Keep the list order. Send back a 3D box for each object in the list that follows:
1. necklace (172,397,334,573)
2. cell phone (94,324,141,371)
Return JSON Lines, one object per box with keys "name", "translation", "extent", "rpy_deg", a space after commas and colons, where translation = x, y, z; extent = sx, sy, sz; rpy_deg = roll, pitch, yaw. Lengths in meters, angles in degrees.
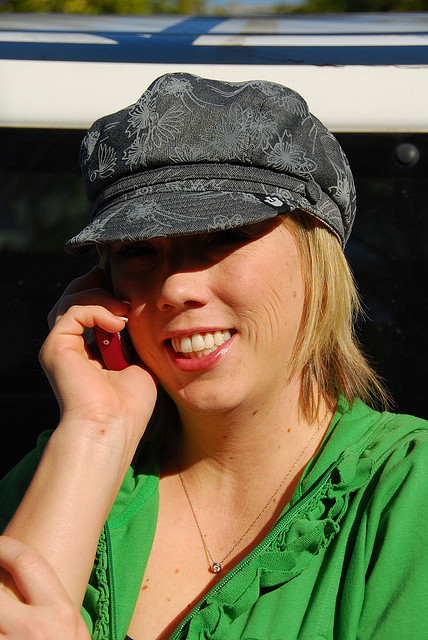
{"name": "necklace", "translation": [0.140, 0.500, 2.049], "extent": [0.587, 0.388, 0.038], "rpy_deg": [1, -19, 36]}
{"name": "cell phone", "translation": [-0.291, 0.082, 2.128], "extent": [0.042, 0.123, 0.139], "rpy_deg": [-14, 0, 26]}
